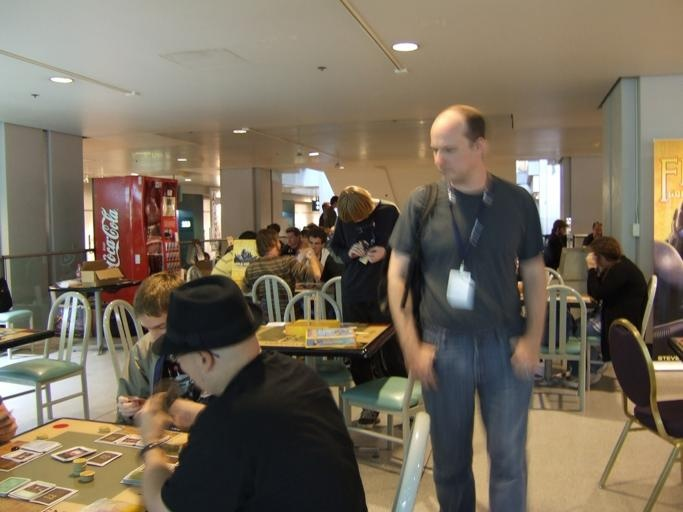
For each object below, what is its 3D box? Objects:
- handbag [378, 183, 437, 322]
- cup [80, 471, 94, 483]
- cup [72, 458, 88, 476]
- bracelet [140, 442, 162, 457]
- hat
[{"bbox_3d":[0.344,-0.012,2.564,0.298,0.590,0.524,2,-4,13],"label":"handbag"},{"bbox_3d":[-1.039,0.893,2.255,0.058,0.029,0.066,-4,7,-27],"label":"cup"},{"bbox_3d":[-1.084,0.868,2.285,0.043,0.054,0.056,5,-2,-1],"label":"cup"},{"bbox_3d":[-0.709,0.707,2.043,0.082,0.021,0.085,-38,-1,-36],"label":"bracelet"},{"bbox_3d":[-0.454,0.201,1.866,0.273,0.128,0.234,-8,22,9],"label":"hat"}]
